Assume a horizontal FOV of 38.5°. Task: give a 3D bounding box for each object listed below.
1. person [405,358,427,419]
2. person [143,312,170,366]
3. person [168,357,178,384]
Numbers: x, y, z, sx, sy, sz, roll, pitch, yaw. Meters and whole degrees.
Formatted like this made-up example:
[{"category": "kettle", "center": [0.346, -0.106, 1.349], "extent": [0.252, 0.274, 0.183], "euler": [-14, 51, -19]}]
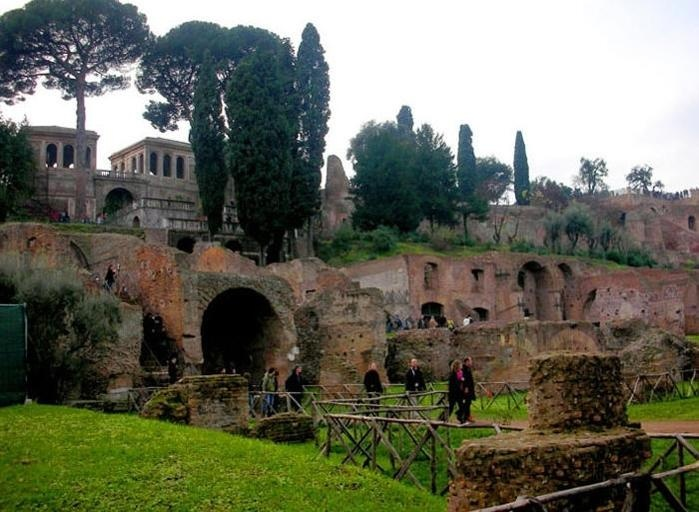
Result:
[{"category": "person", "center": [2.143, 4.235, 32.051], "extent": [0.648, 1.716, 0.395], "euler": [-4, 21, 15]}, {"category": "person", "center": [-7.158, 3.083, 36.609], "extent": [0.646, 1.879, 1.268], "euler": [6, -9, -44]}, {"category": "person", "center": [-6.176, 4.052, 35.050], "extent": [0.318, 0.870, 1.126], "euler": [1, -6, -10]}]
